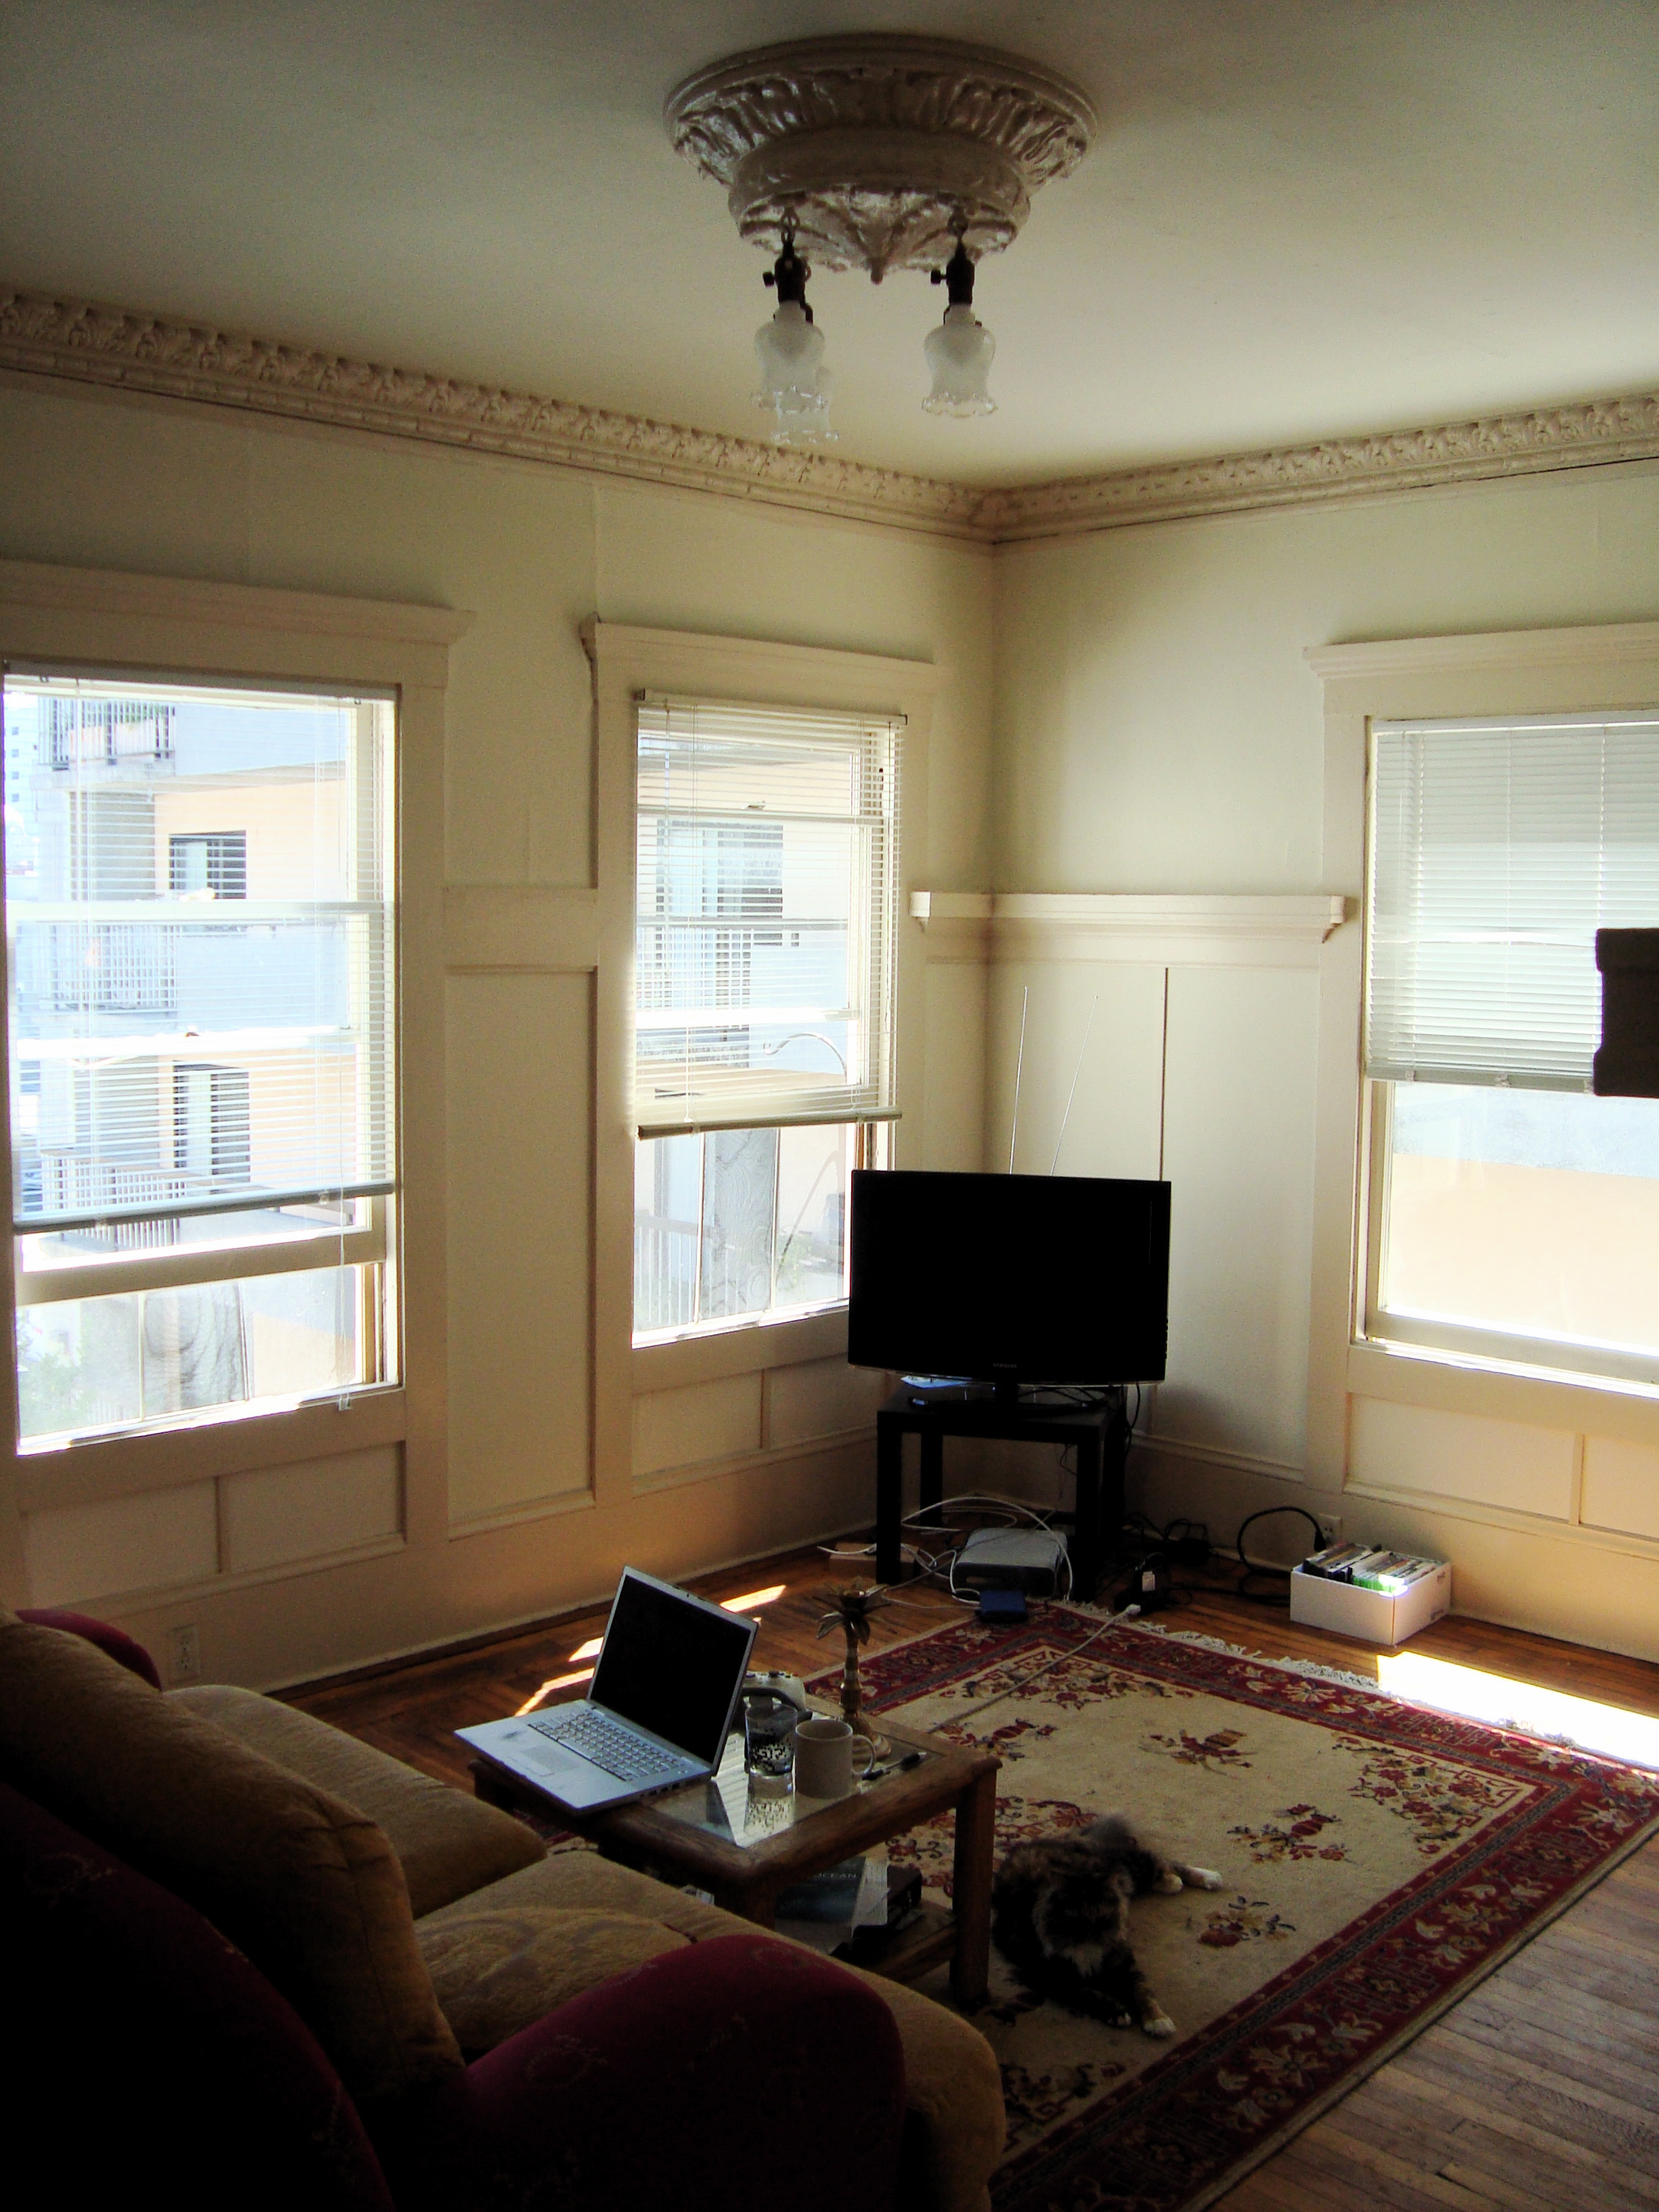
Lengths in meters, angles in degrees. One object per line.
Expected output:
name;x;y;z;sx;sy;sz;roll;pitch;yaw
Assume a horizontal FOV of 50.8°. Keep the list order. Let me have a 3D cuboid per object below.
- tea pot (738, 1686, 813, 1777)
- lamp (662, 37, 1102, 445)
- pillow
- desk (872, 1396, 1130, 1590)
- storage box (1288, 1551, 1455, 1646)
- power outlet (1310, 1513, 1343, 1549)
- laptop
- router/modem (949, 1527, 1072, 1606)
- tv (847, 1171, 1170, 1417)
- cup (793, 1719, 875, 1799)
tea pot;-0.091;0.900;2.508;0.065;0.097;0.106;-1;5;-23
lamp;0.067;-1.234;2.555;0.608;0.405;0.603;19;25;37
pillow;-0.277;0.858;1.770;0.204;0.060;0.208;-1;3;-33
desk;0.475;0.950;4.676;0.575;0.472;0.564;1;0;27
storage box;1.365;1.186;4.340;0.230;0.099;0.236;7;13;44
power outlet;1.319;1.121;4.624;0.025;0.092;0.091;-1;3;-45
laptop;-0.321;0.803;2.576;0.321;0.209;0.354;2;2;-39
router/modem;0.469;1.202;4.622;0.342;0.112;0.400;1;3;-13
tv;0.465;0.471;4.536;0.689;0.450;0.174;1;4;8
cup;0.009;0.910;2.451;0.069;0.073;0.115;-2;-4;37
